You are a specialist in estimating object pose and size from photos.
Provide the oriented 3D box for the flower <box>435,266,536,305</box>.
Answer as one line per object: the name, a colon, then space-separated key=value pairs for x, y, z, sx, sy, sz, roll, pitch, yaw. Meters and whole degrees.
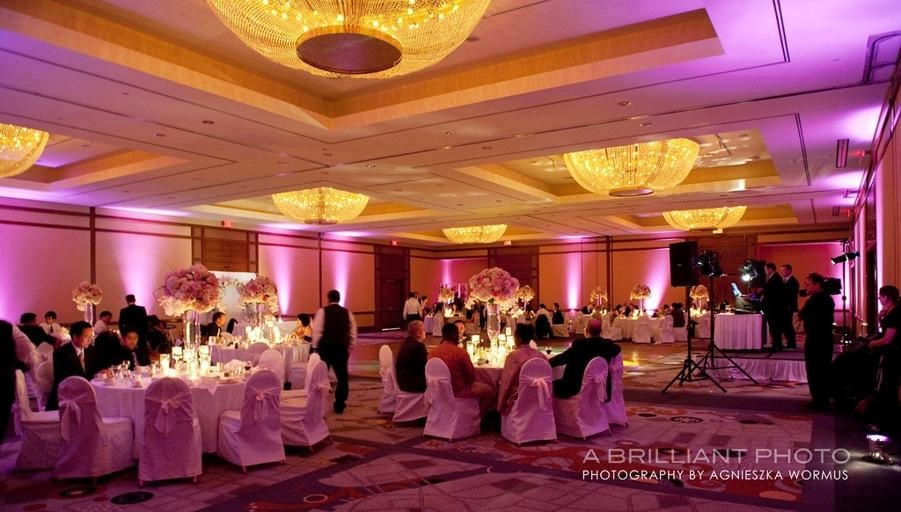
flower: x=1.216 y=1.029 z=19.589 sx=2.395 sy=0.973 sz=1.680 roll=-5 pitch=-6 yaw=19

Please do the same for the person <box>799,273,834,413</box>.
person: x=6.942 y=1.587 z=10.854 sx=0.619 sy=2.410 sz=0.858 roll=2 pitch=9 yaw=13

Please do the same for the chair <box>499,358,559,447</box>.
chair: x=1.270 y=2.307 z=9.238 sx=0.809 sy=1.399 sz=0.357 roll=-1 pitch=9 yaw=-5

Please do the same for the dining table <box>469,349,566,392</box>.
dining table: x=1.227 y=1.972 z=10.547 sx=1.821 sy=0.382 sz=1.561 roll=-6 pitch=6 yaw=22

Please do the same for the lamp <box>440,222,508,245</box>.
lamp: x=0.925 y=-0.866 z=21.590 sx=2.099 sy=0.723 sz=1.206 roll=-1 pitch=8 yaw=-3

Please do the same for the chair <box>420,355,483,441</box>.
chair: x=0.119 y=2.405 z=9.836 sx=1.023 sy=1.184 sz=0.997 roll=-5 pitch=-11 yaw=27

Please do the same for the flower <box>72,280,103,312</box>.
flower: x=-9.097 y=0.959 z=14.465 sx=0.880 sy=0.897 sz=0.505 roll=4 pitch=9 yaw=-11

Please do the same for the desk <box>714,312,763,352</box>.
desk: x=6.987 y=1.874 z=14.685 sx=1.713 sy=0.860 sz=1.580 roll=1 pitch=-1 yaw=19

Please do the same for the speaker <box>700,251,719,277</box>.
speaker: x=5.804 y=0.189 z=12.832 sx=0.485 sy=0.550 sz=0.855 roll=3 pitch=9 yaw=24

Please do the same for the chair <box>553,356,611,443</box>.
chair: x=2.151 y=2.303 z=9.405 sx=0.886 sy=1.330 sz=0.446 roll=1 pitch=9 yaw=12

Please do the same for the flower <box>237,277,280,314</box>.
flower: x=-5.016 y=0.908 z=14.723 sx=0.926 sy=0.697 sz=1.076 roll=-4 pitch=6 yaw=16

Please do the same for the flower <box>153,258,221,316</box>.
flower: x=-4.291 y=0.474 z=9.296 sx=0.640 sy=0.448 sz=0.543 roll=2 pitch=44 yaw=-11

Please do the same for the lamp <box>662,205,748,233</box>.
lamp: x=7.844 y=-1.166 z=17.815 sx=2.080 sy=0.706 sz=1.119 roll=3 pitch=9 yaw=25
